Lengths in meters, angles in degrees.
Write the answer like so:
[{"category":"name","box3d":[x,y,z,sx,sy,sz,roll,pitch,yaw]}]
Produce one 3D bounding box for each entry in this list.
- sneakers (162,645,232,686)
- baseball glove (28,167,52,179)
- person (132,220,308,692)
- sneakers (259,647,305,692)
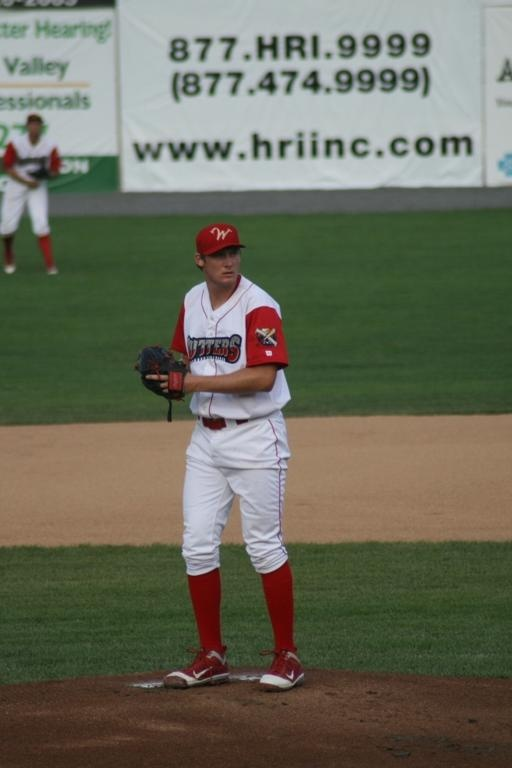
[{"category":"sneakers","box3d":[-0.321,1.455,9.320,0.366,0.287,0.149,0,-1,-10]},{"category":"baseball glove","box3d":[-1.866,-1.739,15.029,0.118,0.110,0.324,4,15,18]},{"category":"person","box3d":[-0.151,0.463,9.274,0.977,2.456,0.696,9,15,36]},{"category":"sneakers","box3d":[0.136,1.459,9.170,0.104,0.172,0.309,0,-1,18]}]
